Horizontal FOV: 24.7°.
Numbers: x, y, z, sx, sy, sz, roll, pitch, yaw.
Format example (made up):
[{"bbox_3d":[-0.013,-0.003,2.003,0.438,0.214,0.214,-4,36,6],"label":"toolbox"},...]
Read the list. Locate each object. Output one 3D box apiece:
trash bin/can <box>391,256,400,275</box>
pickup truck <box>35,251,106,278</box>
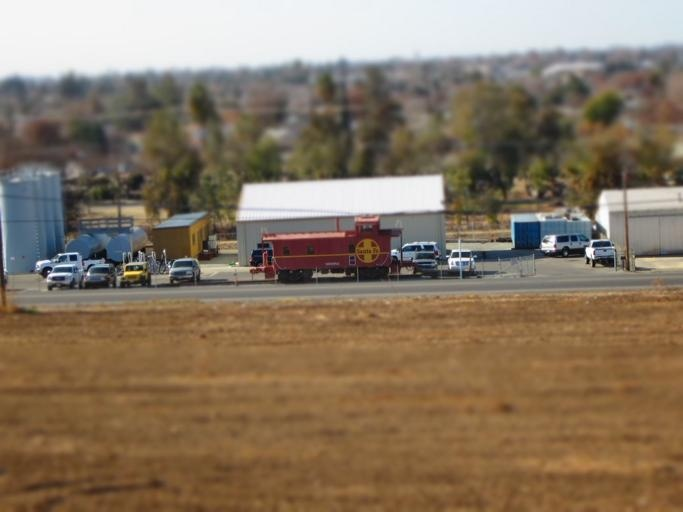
[{"bbox_3d":[1.594,0.306,46.063,0.260,0.566,0.484,1,14,6],"label":"trash bin/can"},{"bbox_3d":[-8.498,0.385,49.188,2.051,0.753,0.940,0,4,-15],"label":"pickup truck"}]
